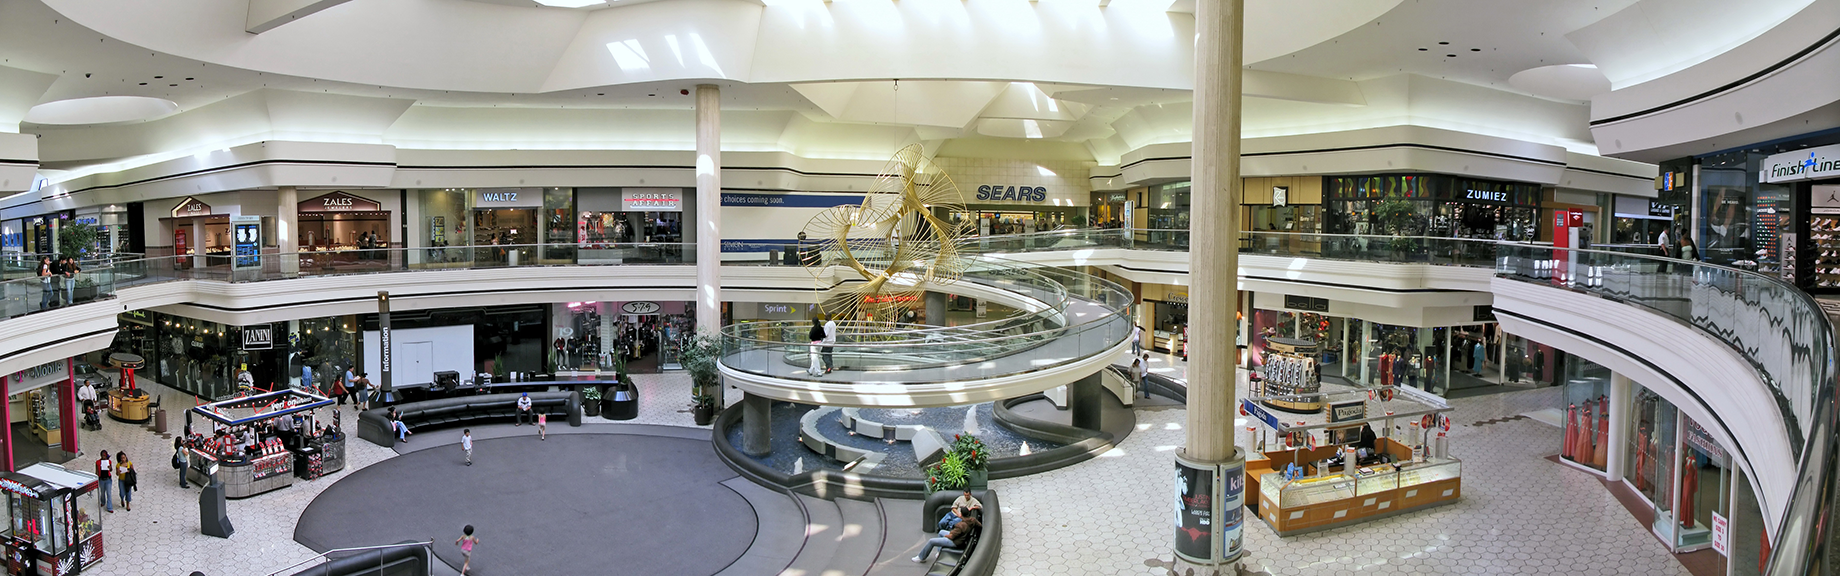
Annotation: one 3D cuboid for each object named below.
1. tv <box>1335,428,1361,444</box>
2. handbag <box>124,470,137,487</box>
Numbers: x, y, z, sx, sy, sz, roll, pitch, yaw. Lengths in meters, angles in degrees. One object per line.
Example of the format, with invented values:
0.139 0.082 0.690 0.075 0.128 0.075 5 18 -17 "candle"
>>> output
22.655 7.855 47.401 1.877 0.735 0.161 -2 7 -5 "tv"
-42.815 10.292 48.488 0.358 0.803 1.131 -4 3 -30 "handbag"
